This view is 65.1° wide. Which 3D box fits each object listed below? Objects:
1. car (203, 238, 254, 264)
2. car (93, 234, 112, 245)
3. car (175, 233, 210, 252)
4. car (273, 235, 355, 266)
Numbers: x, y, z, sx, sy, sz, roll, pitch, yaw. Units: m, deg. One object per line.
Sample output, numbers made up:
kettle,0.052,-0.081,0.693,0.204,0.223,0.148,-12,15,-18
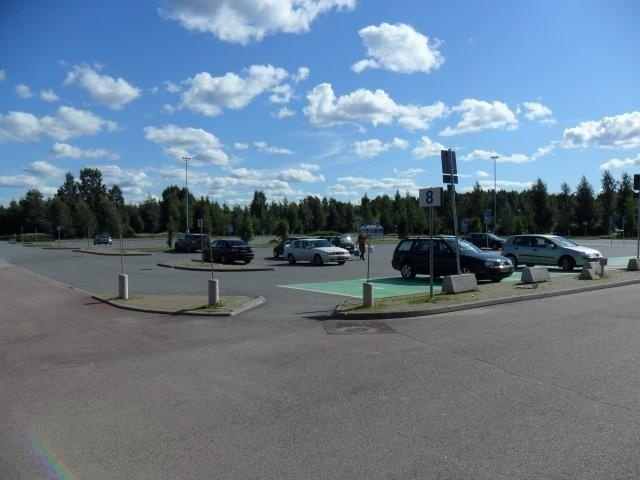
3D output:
car,-5.338,0.710,30.046,2.602,1.415,1.183,1,3,27
car,-29.160,-0.042,66.983,1.490,1.110,2.257,-2,1,-39
car,-10.662,0.249,41.967,1.307,0.940,2.386,-2,6,-39
car,-0.452,0.697,30.401,4.675,1.544,1.513,2,4,44
